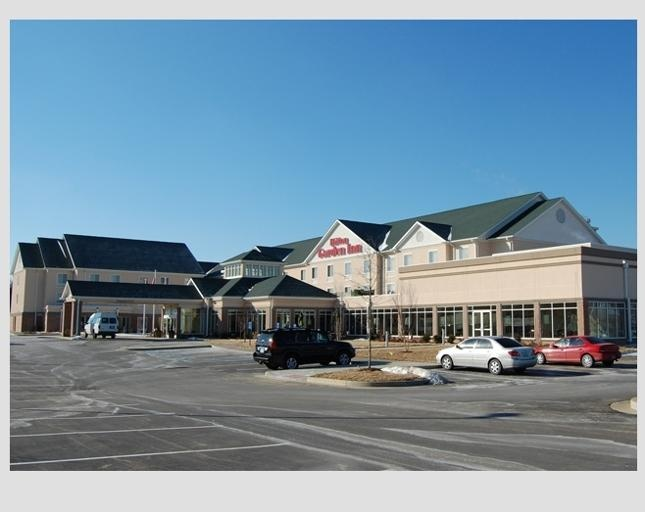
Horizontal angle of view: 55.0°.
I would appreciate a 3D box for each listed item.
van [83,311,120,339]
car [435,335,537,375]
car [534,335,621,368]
[{"bbox_3d":[-21.532,6.514,60.055,2.304,1.737,3.862,2,-2,-35],"label":"van"},{"bbox_3d":[6.983,4.131,26.753,1.694,1.279,3.912,5,-5,-42],"label":"car"},{"bbox_3d":[12.217,4.537,29.831,3.575,1.098,1.837,-2,-6,44],"label":"car"}]
